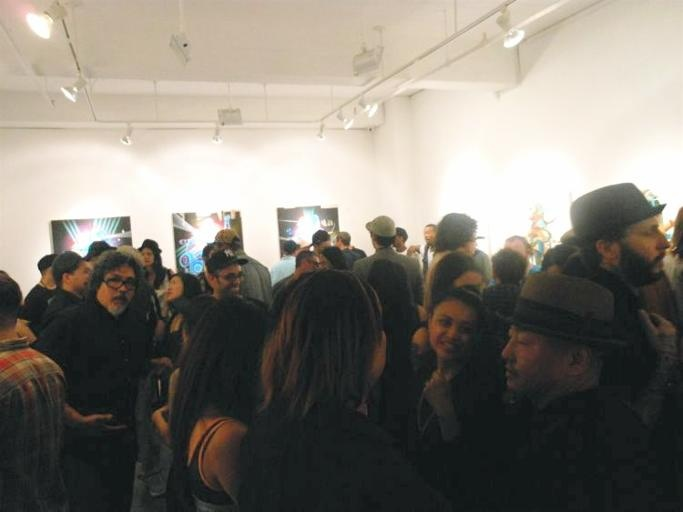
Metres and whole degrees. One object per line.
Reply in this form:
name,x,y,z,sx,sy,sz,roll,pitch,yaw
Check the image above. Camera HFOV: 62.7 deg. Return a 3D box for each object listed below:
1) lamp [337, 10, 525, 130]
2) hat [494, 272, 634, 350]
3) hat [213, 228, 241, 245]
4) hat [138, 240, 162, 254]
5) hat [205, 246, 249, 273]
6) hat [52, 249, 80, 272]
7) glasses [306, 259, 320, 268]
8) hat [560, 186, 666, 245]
lamp,0.908,-2.362,7.282,1.013,0.989,4.308,1,3,-16
hat,0.929,0.219,2.253,0.373,0.152,0.290,16,-6,5
hat,-1.035,-0.185,5.063,0.174,0.094,0.249,-1,-5,-2
hat,-2.114,-0.104,6.148,0.150,0.070,0.179,5,-27,5
hat,-0.785,0.050,3.811,0.248,0.111,0.179,-13,-2,9
hat,-2.136,0.041,4.379,0.183,0.144,0.167,-8,-5,13
glasses,-0.207,0.065,4.302,0.065,0.063,0.019,14,-37,-34
hat,1.223,-0.214,2.526,0.310,0.122,0.272,-26,5,13
